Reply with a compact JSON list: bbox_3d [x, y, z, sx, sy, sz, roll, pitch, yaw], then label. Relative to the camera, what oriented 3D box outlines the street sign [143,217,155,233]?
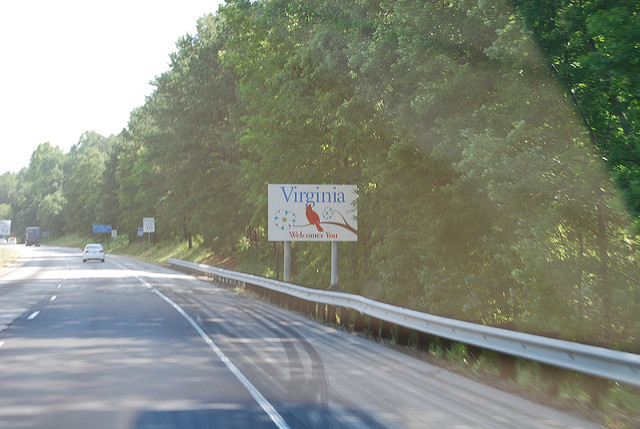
[{"bbox_3d":[-20.488,1.237,60.551,1.604,1.996,0.212,5,-10,-23],"label":"street sign"}]

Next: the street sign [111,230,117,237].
[{"bbox_3d":[-44.711,4.016,109.799,1.130,1.358,1.179,0,5,-4],"label":"street sign"}]

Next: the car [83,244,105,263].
[{"bbox_3d":[-24.824,4.223,55.529,1.943,2.038,2.251,2,-5,-20],"label":"car"}]

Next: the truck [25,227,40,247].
[{"bbox_3d":[-77.046,5.953,135.737,5.821,4.828,3.150,-5,-7,42],"label":"truck"}]
